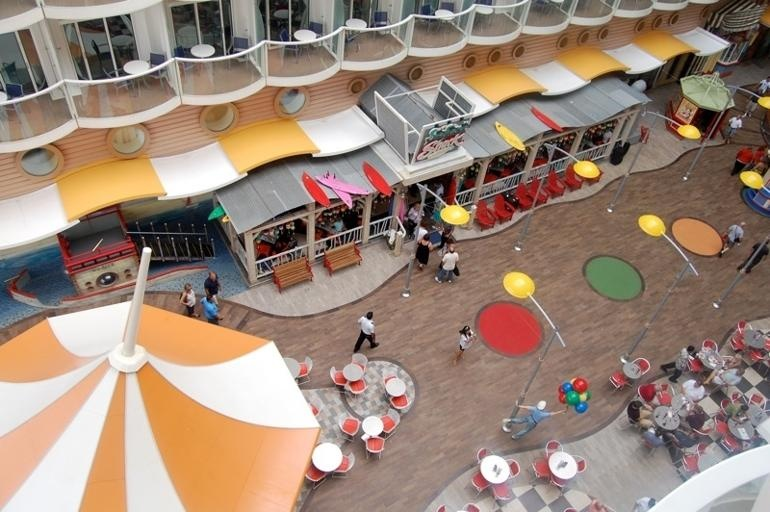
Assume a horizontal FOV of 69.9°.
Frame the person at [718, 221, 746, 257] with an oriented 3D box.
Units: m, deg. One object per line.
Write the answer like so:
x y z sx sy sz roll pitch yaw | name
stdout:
19.894 -1.031 31.619 0.781 2.341 0.964 -16 47 -17 | person

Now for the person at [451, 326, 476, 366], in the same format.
3.678 4.393 26.230 0.755 1.784 0.625 32 65 17 | person

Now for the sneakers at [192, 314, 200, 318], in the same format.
-9.106 2.879 26.514 0.323 0.222 0.110 9 42 9 | sneakers

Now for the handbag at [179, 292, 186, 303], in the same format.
-9.514 1.986 25.859 0.362 0.468 0.469 4 66 -13 | handbag

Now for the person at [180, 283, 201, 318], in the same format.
-9.265 2.197 26.078 0.709 1.395 0.641 13 61 -3 | person

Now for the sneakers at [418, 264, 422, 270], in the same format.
1.857 0.605 29.206 0.230 0.426 0.232 3 89 5 | sneakers

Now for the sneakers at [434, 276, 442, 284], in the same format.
2.713 1.249 28.797 0.171 0.198 0.464 -30 54 -26 | sneakers
